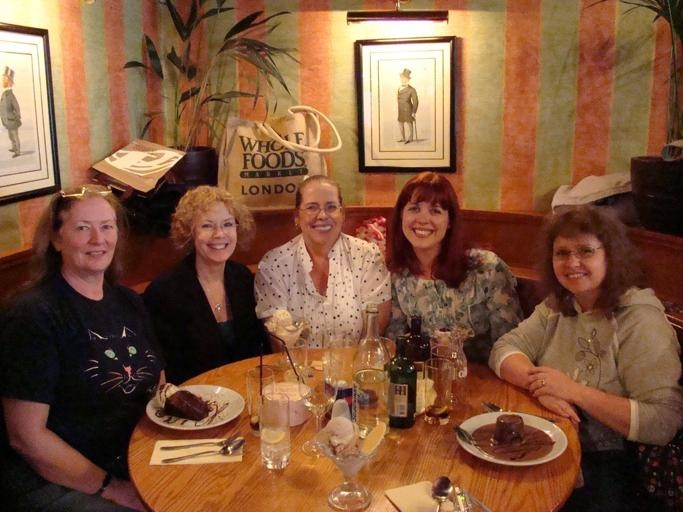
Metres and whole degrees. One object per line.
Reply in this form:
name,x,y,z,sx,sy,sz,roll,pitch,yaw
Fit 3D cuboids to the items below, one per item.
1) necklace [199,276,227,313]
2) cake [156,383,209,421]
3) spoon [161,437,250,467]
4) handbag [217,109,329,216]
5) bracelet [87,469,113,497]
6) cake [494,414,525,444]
necklace,-0.707,0.213,2.893,0.124,0.175,0.062,-18,-3,-32
cake,-0.608,0.542,2.004,0.182,0.079,0.101,18,24,13
spoon,-0.467,0.663,1.806,0.269,0.046,0.103,-5,14,-12
handbag,-0.480,-0.651,3.701,0.884,0.806,0.395,2,25,-12
bracelet,-0.939,0.884,2.036,0.022,0.069,0.071,35,-28,-24
cake,0.580,0.597,1.800,0.090,0.074,0.091,-1,6,3
